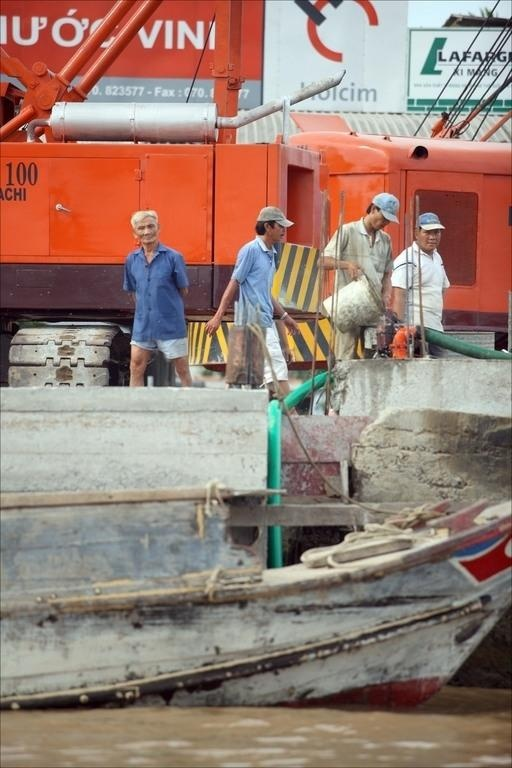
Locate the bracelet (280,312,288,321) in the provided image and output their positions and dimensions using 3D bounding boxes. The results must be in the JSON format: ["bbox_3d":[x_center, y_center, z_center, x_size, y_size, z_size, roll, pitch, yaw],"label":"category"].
[{"bbox_3d":[0.169,-0.451,10.876,0.013,0.050,0.042,35,32,16],"label":"bracelet"}]

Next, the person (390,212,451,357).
[{"bbox_3d":[0.991,-0.705,10.261,0.330,0.728,0.876,1,5,5],"label":"person"}]

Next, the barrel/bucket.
[{"bbox_3d":[0.585,-0.482,10.056,0.267,0.340,0.290,-25,-1,-1],"label":"barrel/bucket"}]

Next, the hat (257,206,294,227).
[{"bbox_3d":[0.115,-1.070,10.443,0.187,0.119,0.127,-2,7,-11],"label":"hat"}]

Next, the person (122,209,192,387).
[{"bbox_3d":[-0.643,-0.544,10.387,0.417,1.106,0.267,0,4,-7],"label":"person"}]

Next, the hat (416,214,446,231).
[{"bbox_3d":[1.086,-1.034,10.421,0.156,0.144,0.233,1,1,-8],"label":"hat"}]
